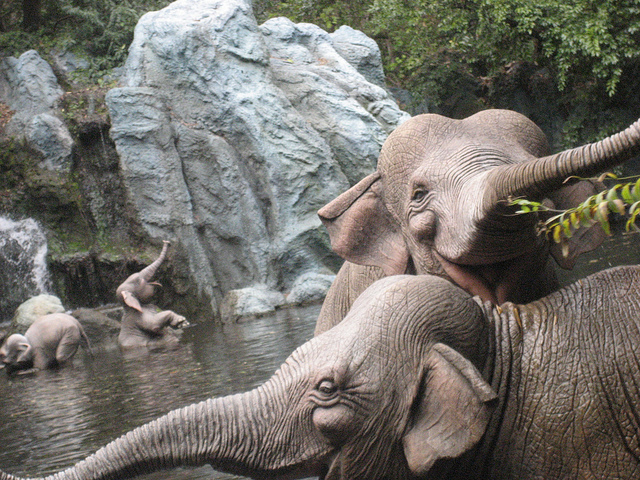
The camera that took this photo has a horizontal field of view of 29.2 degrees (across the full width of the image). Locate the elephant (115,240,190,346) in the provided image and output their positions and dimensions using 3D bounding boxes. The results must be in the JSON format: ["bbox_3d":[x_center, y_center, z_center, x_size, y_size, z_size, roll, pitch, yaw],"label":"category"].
[{"bbox_3d":[-3.786,1.378,27.598,1.613,2.620,1.948,-5,-14,-10],"label":"elephant"}]

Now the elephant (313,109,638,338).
[{"bbox_3d":[2.308,-0.508,19.240,3.058,4.973,2.677,-22,77,-43],"label":"elephant"}]
